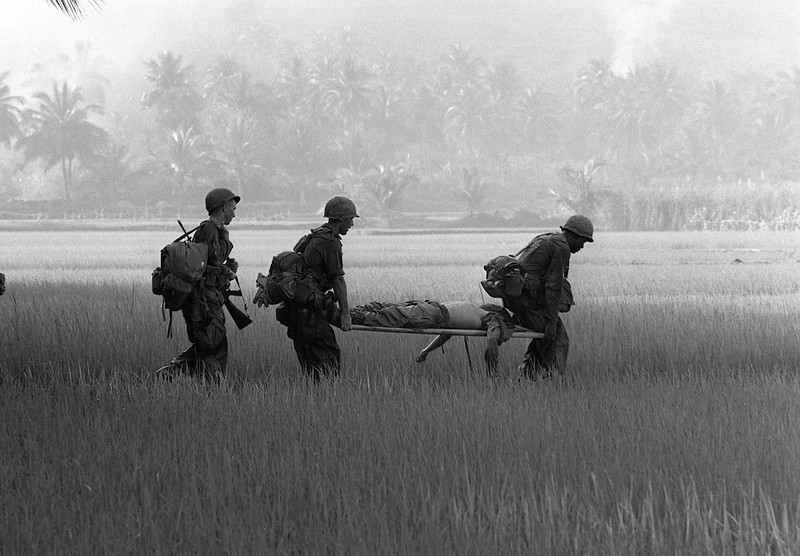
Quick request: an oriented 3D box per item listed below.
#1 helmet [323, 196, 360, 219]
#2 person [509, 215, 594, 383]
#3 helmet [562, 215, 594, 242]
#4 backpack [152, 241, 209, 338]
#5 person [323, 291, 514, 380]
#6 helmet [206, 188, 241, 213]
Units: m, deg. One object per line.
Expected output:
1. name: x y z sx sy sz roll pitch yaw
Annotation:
1. helmet: -0.916 -1.109 16.036 0.456 0.249 0.355 -4 8 -16
2. person: 2.384 0.271 16.418 1.079 2.557 0.739 1 10 5
3. helmet: 2.878 -0.828 16.457 0.507 0.300 0.393 29 3 5
4. backpack: -3.416 -0.007 15.958 0.861 1.200 0.355 -1 10 -6
5. person: 0.456 0.777 16.047 2.102 0.676 1.448 2 3 -20
6. helmet: -2.815 -1.285 16.196 0.488 0.367 0.365 1 -26 -38
